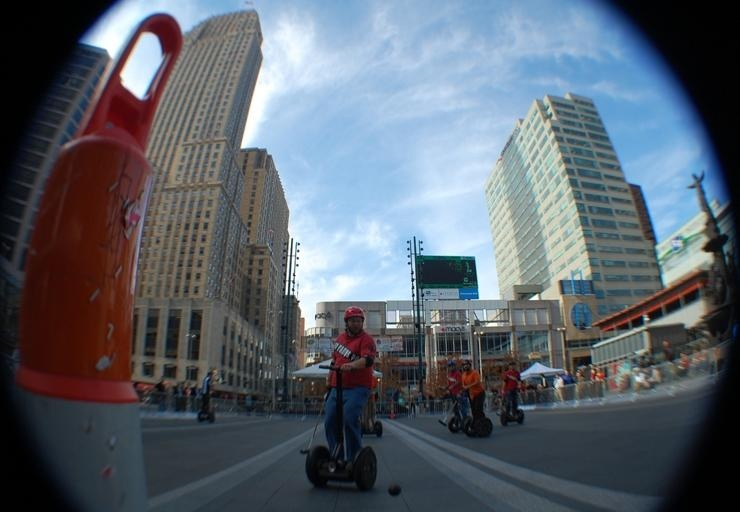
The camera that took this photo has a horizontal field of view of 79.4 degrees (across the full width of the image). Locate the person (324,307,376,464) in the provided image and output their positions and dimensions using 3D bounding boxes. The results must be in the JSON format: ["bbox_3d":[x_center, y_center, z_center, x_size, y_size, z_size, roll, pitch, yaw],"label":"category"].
[{"bbox_3d":[-0.201,1.322,4.744,0.504,1.488,0.678,-4,-8,27],"label":"person"}]
